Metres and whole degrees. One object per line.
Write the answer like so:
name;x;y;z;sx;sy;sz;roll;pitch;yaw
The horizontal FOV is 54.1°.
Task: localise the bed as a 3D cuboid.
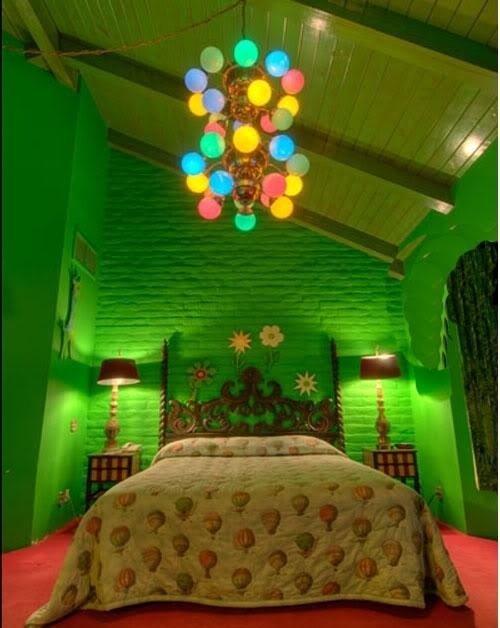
bed;-0.048;1.068;3.237;1.365;0.989;1.840;-1;-12;2
